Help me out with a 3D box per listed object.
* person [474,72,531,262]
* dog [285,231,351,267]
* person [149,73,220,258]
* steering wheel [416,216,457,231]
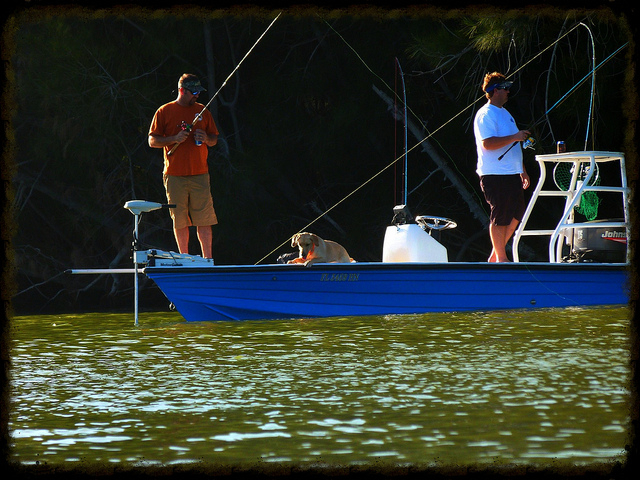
[{"bbox_3d":[1.779,-0.670,8.849,0.643,1.735,0.732,1,6,35],"label":"person"},{"bbox_3d":[0.074,0.117,9.291,0.315,0.285,0.865,-2,-3,38],"label":"dog"},{"bbox_3d":[-1.255,-0.695,8.956,0.645,1.724,0.562,-4,15,-9],"label":"person"},{"bbox_3d":[1.296,-0.200,10.469,0.351,0.086,0.320,3,-4,0],"label":"steering wheel"}]
